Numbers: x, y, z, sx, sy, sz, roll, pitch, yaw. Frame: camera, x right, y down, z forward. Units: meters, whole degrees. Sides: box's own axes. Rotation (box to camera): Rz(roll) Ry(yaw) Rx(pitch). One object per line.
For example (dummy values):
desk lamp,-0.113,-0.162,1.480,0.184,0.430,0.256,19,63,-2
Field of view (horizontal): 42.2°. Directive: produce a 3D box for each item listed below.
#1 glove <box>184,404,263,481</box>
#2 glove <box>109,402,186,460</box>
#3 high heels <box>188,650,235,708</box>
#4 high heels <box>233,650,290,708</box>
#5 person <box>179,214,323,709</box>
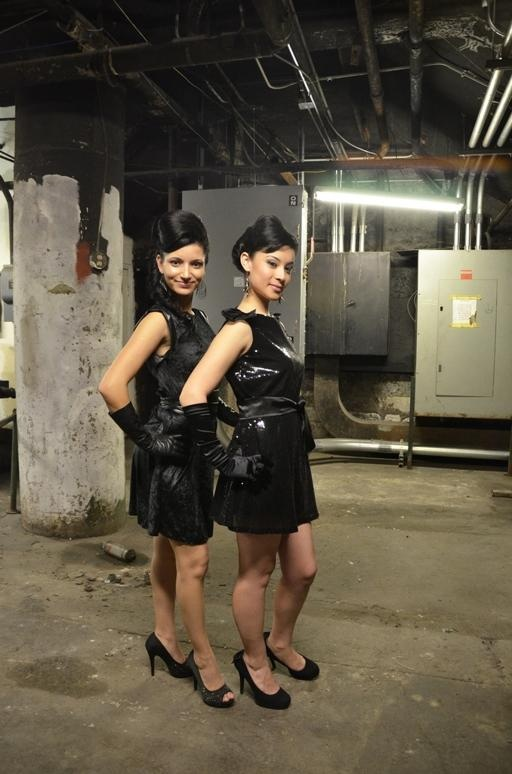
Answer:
glove,-0.136,0.198,2.198,0.223,0.280,0.104,-15,-11,-39
glove,-0.396,0.169,2.388,0.221,0.226,0.222,5,6,44
high heels,-0.219,1.081,2.481,0.100,0.117,0.287,22,-5,-39
high heels,0.026,1.087,2.487,0.252,0.166,0.131,5,0,18
person,0.017,0.283,2.384,0.395,1.780,0.569,2,4,18
